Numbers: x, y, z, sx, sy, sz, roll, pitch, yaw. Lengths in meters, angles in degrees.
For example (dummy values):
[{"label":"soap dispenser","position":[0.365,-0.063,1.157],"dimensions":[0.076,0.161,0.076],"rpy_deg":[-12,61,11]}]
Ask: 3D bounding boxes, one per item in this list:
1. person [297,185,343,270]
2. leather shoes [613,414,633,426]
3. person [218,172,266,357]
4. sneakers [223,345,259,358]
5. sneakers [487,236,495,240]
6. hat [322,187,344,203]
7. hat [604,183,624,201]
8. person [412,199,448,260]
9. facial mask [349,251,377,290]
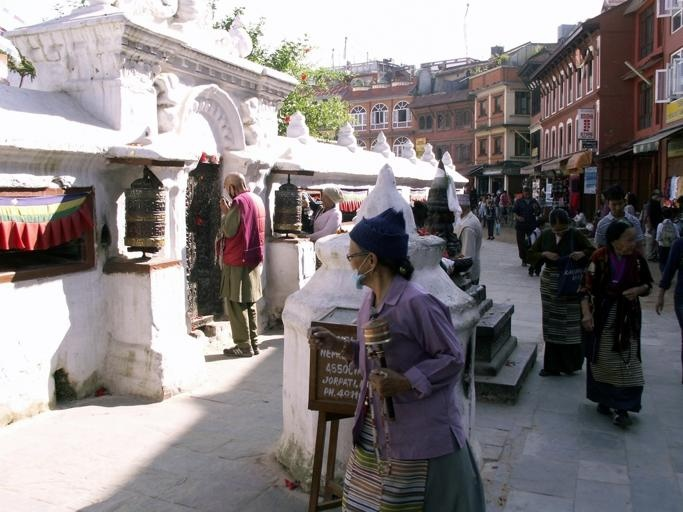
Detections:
[{"label":"person","position":[-0.348,-0.447,10.235],"dimensions":[0.622,1.489,1.727],"rpy_deg":[0,10,-6]},{"label":"leather shoes","position":[2.853,1.668,6.175],"dimensions":[0.086,0.095,0.210],"rpy_deg":[-2,-17,8]},{"label":"person","position":[-1.324,0.124,8.091],"dimensions":[0.570,2.407,0.420],"rpy_deg":[-1,10,-14]},{"label":"sneakers","position":[-1.356,1.249,8.215],"dimensions":[0.450,0.207,0.174],"rpy_deg":[4,4,1]},{"label":"sneakers","position":[6.774,-0.800,27.451],"dimensions":[0.423,0.181,0.134],"rpy_deg":[4,-6,-10]},{"label":"hat","position":[-0.141,-0.977,9.752],"dimensions":[0.233,0.233,0.300],"rpy_deg":[26,6,13]},{"label":"hat","position":[3.439,-0.807,7.708],"dimensions":[0.181,0.244,0.243],"rpy_deg":[-2,-2,22]},{"label":"person","position":[2.013,-0.626,13.560],"dimensions":[0.535,1.483,1.062],"rpy_deg":[1,5,40]},{"label":"facial mask","position":[0.130,0.088,3.613],"dimensions":[0.187,0.116,0.159],"rpy_deg":[-8,8,-14]}]
